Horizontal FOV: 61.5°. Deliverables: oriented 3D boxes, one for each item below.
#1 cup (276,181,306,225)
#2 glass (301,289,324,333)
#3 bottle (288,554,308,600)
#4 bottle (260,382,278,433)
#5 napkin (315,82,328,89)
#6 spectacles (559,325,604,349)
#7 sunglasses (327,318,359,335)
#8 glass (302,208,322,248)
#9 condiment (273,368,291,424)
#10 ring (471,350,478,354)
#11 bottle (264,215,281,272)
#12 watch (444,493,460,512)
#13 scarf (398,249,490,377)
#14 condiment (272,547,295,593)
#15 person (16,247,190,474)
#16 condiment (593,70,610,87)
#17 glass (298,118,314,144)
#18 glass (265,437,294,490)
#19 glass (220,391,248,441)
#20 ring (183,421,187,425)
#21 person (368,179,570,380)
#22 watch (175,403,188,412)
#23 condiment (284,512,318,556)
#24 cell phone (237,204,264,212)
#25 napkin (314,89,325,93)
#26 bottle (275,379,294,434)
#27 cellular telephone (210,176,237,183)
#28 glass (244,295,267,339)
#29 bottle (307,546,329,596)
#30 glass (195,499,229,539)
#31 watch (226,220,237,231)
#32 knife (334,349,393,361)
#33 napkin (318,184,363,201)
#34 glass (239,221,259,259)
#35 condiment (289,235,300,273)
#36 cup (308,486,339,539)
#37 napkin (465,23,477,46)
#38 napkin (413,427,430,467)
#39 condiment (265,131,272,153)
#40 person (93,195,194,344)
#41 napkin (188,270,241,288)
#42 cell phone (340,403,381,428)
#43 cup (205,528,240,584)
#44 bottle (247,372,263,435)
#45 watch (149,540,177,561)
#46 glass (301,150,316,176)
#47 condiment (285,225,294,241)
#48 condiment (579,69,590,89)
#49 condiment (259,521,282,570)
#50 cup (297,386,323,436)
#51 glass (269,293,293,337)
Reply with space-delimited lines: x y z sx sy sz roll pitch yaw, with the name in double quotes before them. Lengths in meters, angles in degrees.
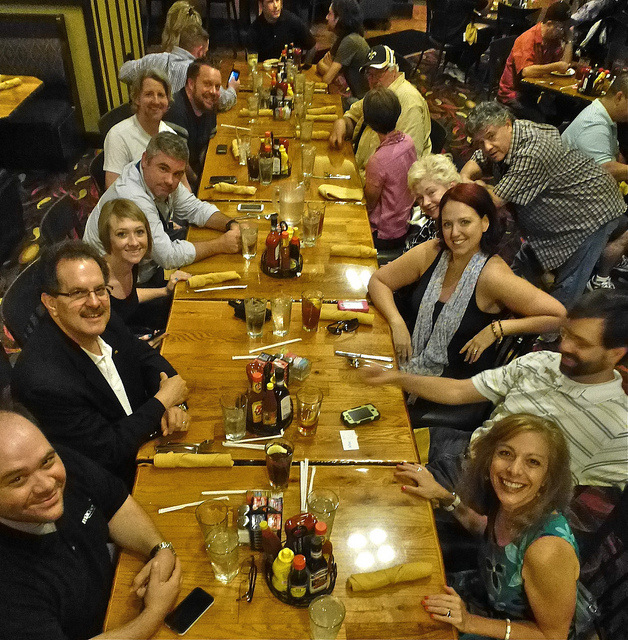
"cup" -0.186 -0.733 3.239 0.232 0.265 0.155 2 23 -5
"glass" -0.017 -0.052 2.511 0.088 0.238 0.107 5 34 0
"bottle" -0.046 0.733 1.502 0.059 0.197 0.036 5 34 0
"bottle" -0.170 0.327 1.993 0.068 0.227 0.048 1 34 -6
"napkin" 0.071 -2.561 5.722 0.132 0.046 0.152 8 36 3
"spectacles" 0.983 0.063 1.993 0.085 0.028 0.085 0 33 -25
"sunglasses" 0.140 0.022 2.611 0.176 0.040 0.082 -14 40 -26
"glass" -0.018 -0.563 3.139 0.101 0.225 0.188 5 35 0
"condiment" -0.126 0.295 2.017 0.066 0.267 0.069 16 45 19
"ring" 0.803 0.158 2.672 0.031 0.027 0.010 16 36 14
"bottle" -0.230 -0.416 2.903 0.121 0.424 0.128 2 42 -2
"watch" 0.527 0.707 2.017 0.026 0.075 0.064 19 17 -5
"scarf" 0.646 -0.015 2.881 0.402 0.732 0.386 -3 32 -5
"condiment" -0.092 0.727 1.529 0.061 0.166 0.041 3 34 -3
"person" -0.870 0.175 2.170 0.492 0.996 0.460 1 51 -1
"condiment" 2.899 -2.475 5.375 0.055 0.136 0.265 28 41 30
"glass" -0.073 -1.572 4.382 0.097 0.203 0.245 2 35 -4
"glass" -0.119 0.490 1.850 0.133 0.221 0.145 0 44 -2
"glass" -0.311 0.392 2.059 0.110 0.123 0.178 -8 67 5
"ring" -0.506 0.400 2.063 0.012 0.003 0.012 2 74 -6
"person" 0.855 -0.241 2.946 0.510 0.878 0.892 -17 46 -21
"watch" -0.540 0.354 2.141 0.006 0.035 0.039 -9 34 29
"condiment" -0.038 0.629 1.542 0.108 0.144 0.055 -6 43 -15
"cell phone" -0.421 -0.749 3.481 0.129 0.024 0.073 0 36 0
"napkin" 0.049 -2.477 5.665 0.113 0.027 0.069 5 36 -2
"bottle" -0.120 0.341 2.042 0.060 0.236 0.091 1 39 8
"cellular telephone" -0.655 -1.022 3.808 0.133 0.015 0.078 -2 38 5
"glass" -0.274 -0.027 2.457 0.084 0.245 0.144 0 35 -7
"bottle" 0.011 0.716 1.519 0.072 0.221 0.057 6 34 2
"glass" -0.308 0.621 1.677 0.095 0.116 0.107 0 38 -2
"watch" -0.514 -0.603 3.298 0.059 0.045 0.062 23 58 8
"knife" 0.219 0.161 2.449 0.249 0.022 0.027 5 1 3
"napkin" 0.181 -0.926 3.755 0.313 0.051 0.214 6 36 -1
"glass" -0.377 -0.477 3.032 0.097 0.213 0.231 0 35 -7
"condiment" -0.114 -0.371 2.925 0.059 0.207 0.063 -7 57 -8
"cup" 0.026 0.603 1.637 0.110 0.184 0.118 1 52 -1
"napkin" 2.112 -3.908 7.165 0.086 0.254 0.188 17 26 37
"napkin" 0.487 0.569 2.409 0.046 0.175 0.188 -10 60 23
"condiment" -0.329 -1.268 3.762 0.046 0.118 0.175 1 36 -5
"person" -0.927 -0.263 2.850 0.551 0.765 0.338 -11 78 -10
"napkin" -0.548 -0.236 2.838 0.251 0.056 0.096 -8 48 -22
"cell phone" 0.183 0.384 2.148 0.129 0.032 0.076 -12 42 -22
"cup" -0.275 0.709 1.581 0.117 0.145 0.126 -1 30 1
"bottle" -0.227 0.307 2.008 0.059 0.288 0.113 0 35 -8
"watch" -0.470 0.711 1.638 0.068 0.075 0.047 6 4 -12
"glass" -0.051 -1.183 3.882 0.088 0.225 0.207 4 35 -2
"condiment" -0.130 -0.478 2.883 0.058 0.062 0.061 9 47 3
"condiment" 2.762 -2.488 5.420 0.059 0.178 0.268 16 37 16
"condiment" -0.132 0.675 1.574 0.054 0.185 0.055 -8 48 6
"cup" -0.020 0.351 2.028 0.098 0.158 0.099 1 39 -1
"glass" -0.160 -0.047 2.521 0.098 0.210 0.164 3 35 -3
